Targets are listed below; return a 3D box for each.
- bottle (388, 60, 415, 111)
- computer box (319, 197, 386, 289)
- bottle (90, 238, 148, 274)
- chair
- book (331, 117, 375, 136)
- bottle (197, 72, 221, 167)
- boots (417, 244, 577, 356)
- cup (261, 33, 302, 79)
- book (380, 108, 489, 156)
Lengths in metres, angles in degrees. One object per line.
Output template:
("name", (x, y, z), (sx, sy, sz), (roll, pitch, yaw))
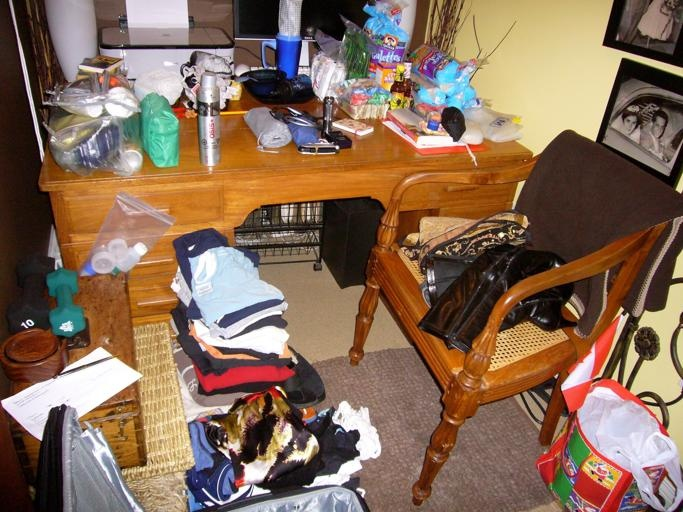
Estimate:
("bottle", (0.278, -0.787, 2.339), (0.094, 0.319, 0.096), (1, 33, -1))
("computer box", (0.066, -0.071, 2.507), (0.289, 0.533, 0.289), (-8, 41, -20))
("bottle", (-0.833, 0.001, 1.867), (0.120, 0.165, 0.049), (33, 9, -40))
("chair", (0.670, 0.229, 1.862), (0.758, 1.196, 0.842), (-8, 43, -24))
("book", (0.056, -0.560, 2.193), (0.116, 0.027, 0.115), (-14, 36, -31))
("bottle", (-0.480, -0.491, 1.818), (0.078, 0.322, 0.135), (-3, 32, -15))
("boots", (0.496, 0.150, 1.684), (0.459, 0.349, 0.155), (-25, -12, 8))
("cup", (-0.290, -0.980, 2.433), (0.149, 0.188, 0.334), (-5, 33, -18))
("book", (0.358, -0.508, 2.142), (0.276, 0.067, 0.278), (29, 5, -22))
